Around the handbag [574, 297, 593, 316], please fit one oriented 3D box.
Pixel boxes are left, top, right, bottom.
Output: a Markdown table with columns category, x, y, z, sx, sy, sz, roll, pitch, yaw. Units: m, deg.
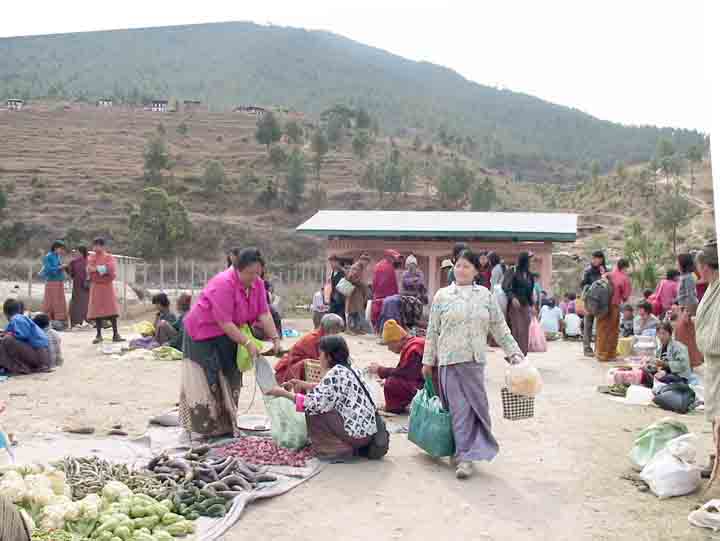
| category | x | y | z | sx | sy | sz | roll | pitch | yaw |
| --- | --- | --- | --- | --- | --- | --- | --- | --- | --- |
| handbag | 4.249 | 0.708 | 15.347 | 0.151 | 0.379 | 0.348 | -14 | 20 | -42 |

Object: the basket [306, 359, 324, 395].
| category | x | y | z | sx | sy | sz | roll | pitch | yaw |
| --- | --- | --- | --- | --- | --- | --- | --- | --- | --- |
| basket | -0.578 | 1.284 | 9.845 | 0.278 | 0.315 | 0.358 | 2 | 8 | 3 |

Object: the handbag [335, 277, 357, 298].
| category | x | y | z | sx | sy | sz | roll | pitch | yaw |
| --- | --- | --- | --- | --- | --- | --- | --- | --- | --- |
| handbag | -0.304 | 0.350 | 17.105 | 0.305 | 0.291 | 0.140 | -42 | -5 | -13 |

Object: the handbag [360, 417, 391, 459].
| category | x | y | z | sx | sy | sz | roll | pitch | yaw |
| --- | --- | --- | --- | --- | --- | --- | --- | --- | --- |
| handbag | 0.171 | 1.888 | 9.104 | 0.333 | 0.510 | 0.216 | 0 | 6 | -13 |

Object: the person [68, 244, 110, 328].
| category | x | y | z | sx | sy | sz | roll | pitch | yaw |
| --- | --- | --- | --- | --- | --- | --- | --- | --- | --- |
| person | -4.700 | 0.337 | 14.635 | 0.574 | 1.912 | 0.523 | -3 | -9 | -9 |

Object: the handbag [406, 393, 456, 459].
| category | x | y | z | sx | sy | sz | roll | pitch | yaw |
| --- | --- | --- | --- | --- | --- | --- | --- | --- | --- |
| handbag | 0.801 | 1.755 | 8.995 | 0.263 | 0.777 | 0.563 | -4 | 8 | -41 |

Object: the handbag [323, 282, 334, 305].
| category | x | y | z | sx | sy | sz | roll | pitch | yaw |
| --- | --- | --- | --- | --- | --- | --- | --- | --- | --- |
| handbag | -0.785 | 0.570 | 18.949 | 0.153 | 0.445 | 0.312 | 7 | -5 | -13 |
